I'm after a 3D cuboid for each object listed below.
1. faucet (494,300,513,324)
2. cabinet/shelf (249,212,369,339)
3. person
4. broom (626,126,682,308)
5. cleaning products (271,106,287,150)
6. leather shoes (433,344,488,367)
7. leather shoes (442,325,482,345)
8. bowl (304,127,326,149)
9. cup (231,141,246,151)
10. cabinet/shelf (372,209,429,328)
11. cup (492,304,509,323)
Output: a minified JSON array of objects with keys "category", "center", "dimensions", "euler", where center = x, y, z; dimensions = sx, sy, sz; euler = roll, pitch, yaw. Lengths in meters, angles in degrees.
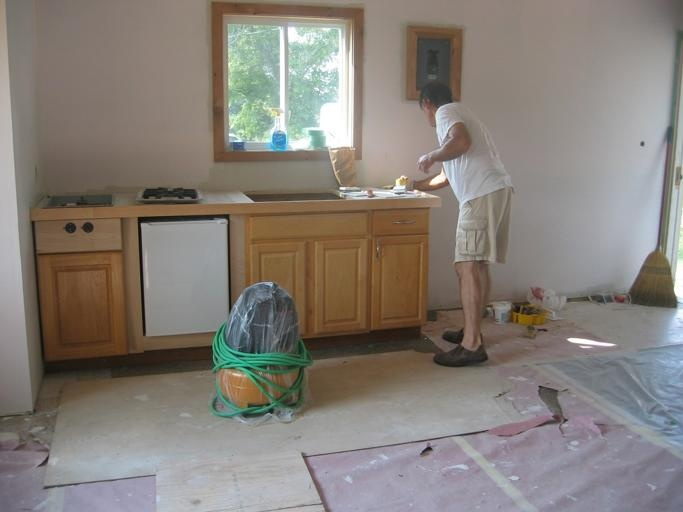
[{"category":"faucet","center":[1.314,0.459,4.269],"dimensions":[0.154,0.180,0.155],"euler":[-7,11,-30]},{"category":"cabinet/shelf","center":[-0.232,0.089,3.325],"dimensions":[0.768,0.780,0.423],"euler":[-2,7,-17]},{"category":"person","center":[0.813,-0.226,3.477],"dimensions":[0.609,1.827,0.693],"euler":[-7,16,-28]},{"category":"broom","center":[2.932,-0.357,4.624],"dimensions":[0.384,1.532,0.659],"euler":[10,17,33]},{"category":"cleaning products","center":[-0.467,-0.951,3.897],"dimensions":[0.123,0.304,0.177],"euler":[-1,14,-8]},{"category":"leather shoes","center":[0.786,0.637,3.408],"dimensions":[0.276,0.113,0.155],"euler":[-1,1,-8]},{"category":"leather shoes","center":[0.869,0.591,3.824],"dimensions":[0.212,0.093,0.116],"euler":[2,1,-18]},{"category":"bowl","center":[-0.199,-0.903,3.959],"dimensions":[0.149,0.146,0.152],"euler":[1,12,0]},{"category":"cup","center":[-0.770,-0.814,3.825],"dimensions":[0.109,0.067,0.102],"euler":[1,14,0]},{"category":"cabinet/shelf","center":[0.348,0.091,3.849],"dimensions":[0.542,0.956,0.569],"euler":[1,8,-1]},{"category":"cup","center":[1.310,0.461,4.260],"dimensions":[0.140,0.164,0.142],"euler":[-2,10,0]}]
